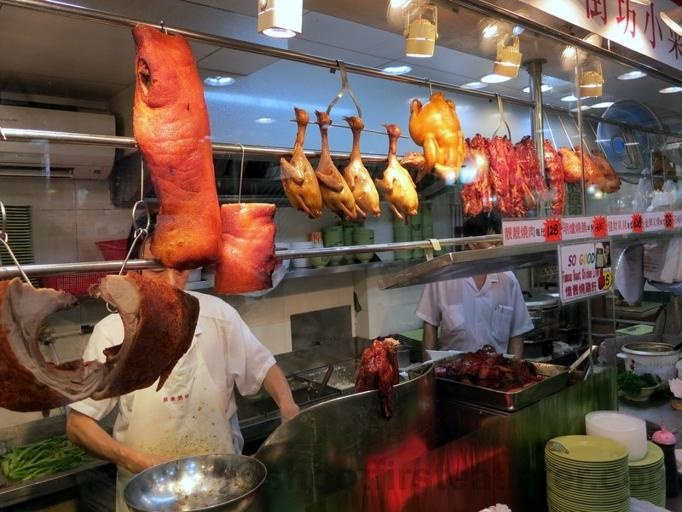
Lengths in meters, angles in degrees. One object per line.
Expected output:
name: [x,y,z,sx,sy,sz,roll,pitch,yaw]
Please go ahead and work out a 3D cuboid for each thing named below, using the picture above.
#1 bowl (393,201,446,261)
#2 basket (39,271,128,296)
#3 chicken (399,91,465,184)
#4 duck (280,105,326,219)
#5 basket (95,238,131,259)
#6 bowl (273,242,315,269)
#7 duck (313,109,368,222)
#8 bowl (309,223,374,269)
bowl: [0.509,-0.151,3.355,0.351,0.565,0.343,-2,0,0]
basket: [-0.871,0.091,1.601,0.193,0.078,0.473,-5,-2,-33]
chicken: [0.412,-0.568,2.317,0.331,0.391,0.133,6,-13,-33]
duck: [-0.168,-0.388,1.957,0.155,0.363,0.224,-5,-2,-3]
basket: [-0.898,-0.013,1.911,0.096,0.056,0.121,1,-7,-19]
bowl: [-0.385,-0.010,3.910,0.288,0.194,0.267,-1,-4,0]
duck: [-0.010,-0.352,1.996,0.158,0.423,0.181,-17,0,27]
bowl: [0.019,-0.117,4.118,0.436,0.302,0.367,-5,-15,3]
